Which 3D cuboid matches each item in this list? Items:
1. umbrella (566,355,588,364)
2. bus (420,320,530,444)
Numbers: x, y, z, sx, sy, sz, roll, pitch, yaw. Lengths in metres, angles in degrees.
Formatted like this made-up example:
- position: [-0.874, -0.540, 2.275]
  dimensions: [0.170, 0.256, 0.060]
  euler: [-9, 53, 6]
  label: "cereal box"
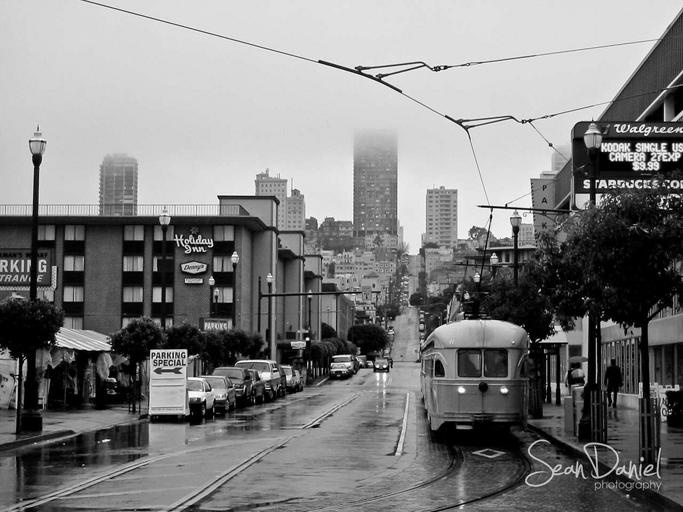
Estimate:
- position: [10.351, 4.624, 54.608]
  dimensions: [0.720, 0.291, 0.803]
  euler: [1, -1, 9]
  label: "umbrella"
- position: [4.425, 4.006, 40.596]
  dimensions: [2.545, 4.067, 4.842]
  euler: [-2, -11, 8]
  label: "bus"
